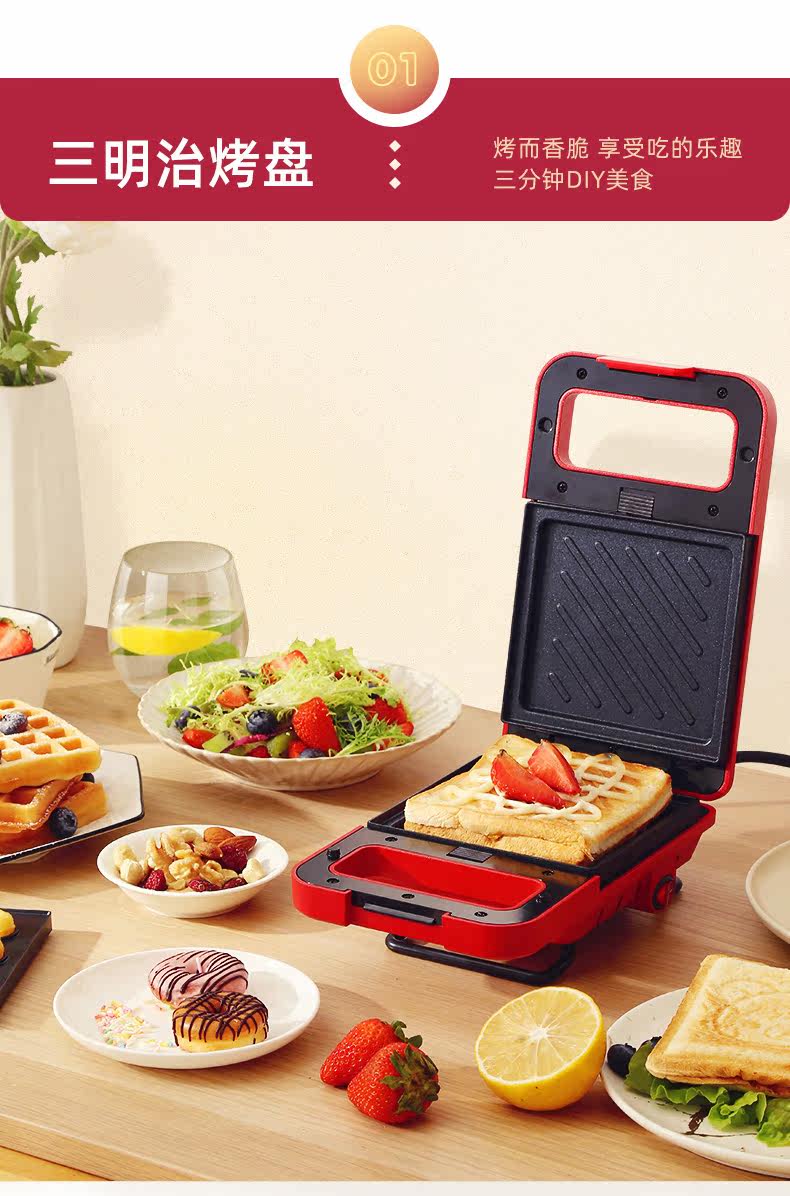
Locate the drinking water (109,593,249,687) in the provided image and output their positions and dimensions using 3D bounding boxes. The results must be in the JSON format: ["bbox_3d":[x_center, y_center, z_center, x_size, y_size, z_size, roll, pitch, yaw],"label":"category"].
[{"bbox_3d":[-0.281,0.052,1.300,0.145,0.093,0.138,1,5,0],"label":"drinking water"}]

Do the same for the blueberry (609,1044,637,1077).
[{"bbox_3d":[0.130,0.264,0.575,0.014,0.013,0.016,-2,19,5],"label":"blueberry"}]

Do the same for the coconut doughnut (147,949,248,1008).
[{"bbox_3d":[-0.129,0.253,0.665,0.048,0.012,0.056,-9,14,-37],"label":"coconut doughnut"}]

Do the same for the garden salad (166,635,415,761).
[{"bbox_3d":[-0.118,0.117,1.121,0.183,0.066,0.167,4,10,11],"label":"garden salad"}]

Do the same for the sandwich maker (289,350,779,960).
[{"bbox_3d":[0.124,0.058,0.837,0.250,0.448,0.444,9,15,38],"label":"sandwich maker"}]
